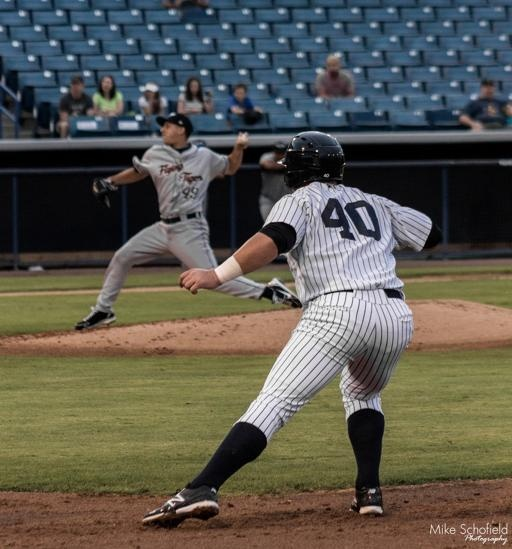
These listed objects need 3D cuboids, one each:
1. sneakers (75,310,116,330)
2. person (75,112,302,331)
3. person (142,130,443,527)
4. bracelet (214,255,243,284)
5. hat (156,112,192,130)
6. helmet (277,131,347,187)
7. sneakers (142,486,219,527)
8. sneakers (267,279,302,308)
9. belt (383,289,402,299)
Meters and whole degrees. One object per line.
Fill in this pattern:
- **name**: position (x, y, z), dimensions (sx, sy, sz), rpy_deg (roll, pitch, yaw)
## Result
- **sneakers**: position (-1.107, 0.314, 8.222), dimensions (0.355, 0.129, 0.115), rpy_deg (-9, 24, -15)
- **person**: position (-0.447, -0.370, 7.969), dimensions (1.786, 1.370, 0.568), rpy_deg (5, 3, 16)
- **person**: position (0.204, 0.239, 4.920), dimensions (0.704, 1.639, 1.256), rpy_deg (13, 19, 43)
- **bracelet**: position (-0.112, -0.012, 4.802), dimensions (0.117, 0.111, 0.096), rpy_deg (7, -39, -14)
- **hat**: position (-0.556, -1.076, 7.993), dimensions (0.237, 0.101, 0.137), rpy_deg (13, 0, -10)
- **helmet**: position (0.266, -0.514, 5.139), dimensions (0.268, 0.230, 0.304), rpy_deg (-9, 6, -36)
- **sneakers**: position (-0.285, 0.979, 4.770), dimensions (0.387, 0.122, 0.152), rpy_deg (-14, 36, 15)
- **sneakers**: position (0.200, 0.149, 8.117), dimensions (0.100, 0.312, 0.110), rpy_deg (-47, 15, 42)
- **belt**: position (0.599, 0.087, 4.941), dimensions (0.065, 0.040, 0.048), rpy_deg (1, -1, -26)
